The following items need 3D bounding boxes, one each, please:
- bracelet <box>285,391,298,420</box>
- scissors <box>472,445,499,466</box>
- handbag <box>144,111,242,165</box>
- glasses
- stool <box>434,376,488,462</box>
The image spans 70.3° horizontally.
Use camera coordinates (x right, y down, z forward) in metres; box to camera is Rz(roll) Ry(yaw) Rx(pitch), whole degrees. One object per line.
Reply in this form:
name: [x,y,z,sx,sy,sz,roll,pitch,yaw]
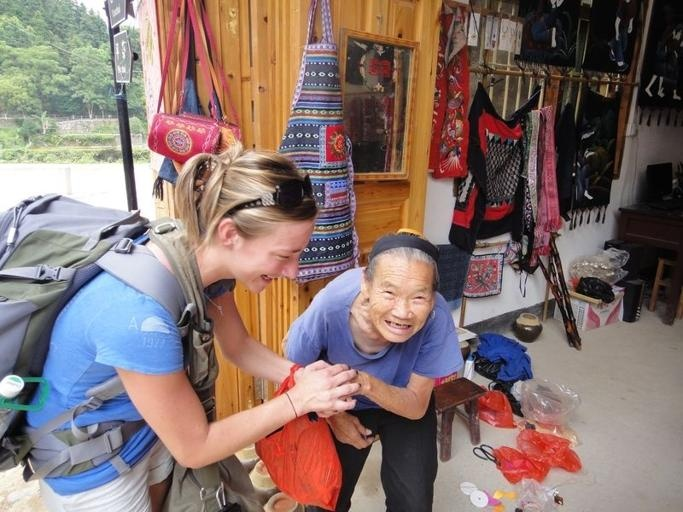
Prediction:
bracelet: [-0.184,0.557,1.804,0.018,0.081,0.067,-17,2,-20]
scissors: [0.979,1.343,3.336,0.150,0.040,0.183,4,17,10]
handbag: [-0.784,-0.624,2.560,0.444,0.262,0.358,15,3,28]
glasses: [-0.227,-0.203,1.686,0.185,0.067,0.172,-14,5,13]
stool: [0.792,1.146,3.482,0.410,0.411,0.397,-21,19,-39]
